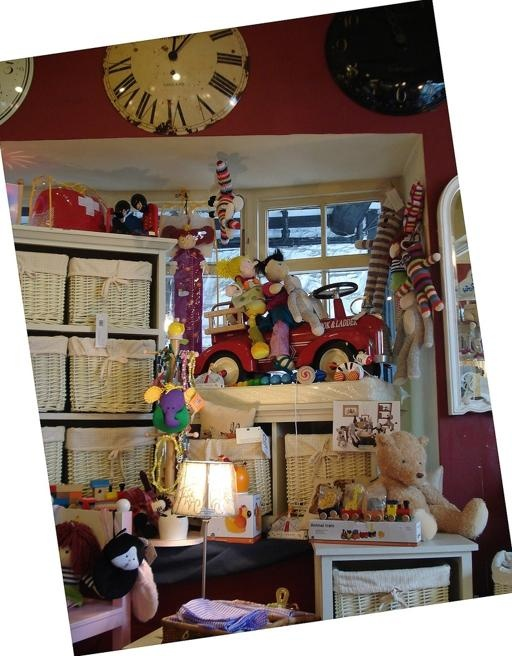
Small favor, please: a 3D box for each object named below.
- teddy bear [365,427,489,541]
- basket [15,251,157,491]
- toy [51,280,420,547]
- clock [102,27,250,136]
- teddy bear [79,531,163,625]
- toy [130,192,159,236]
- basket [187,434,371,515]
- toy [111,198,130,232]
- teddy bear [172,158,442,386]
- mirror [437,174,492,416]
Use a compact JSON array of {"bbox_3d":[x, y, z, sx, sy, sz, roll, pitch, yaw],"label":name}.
[{"bbox_3d":[0.539,0.525,1.869,0.276,0.330,0.343,8,-15,-32],"label":"teddy bear"},{"bbox_3d":[-0.801,0.155,2.574,0.683,0.947,0.434,-3,2,-35],"label":"basket"},{"bbox_3d":[0.115,0.299,2.176,0.913,0.719,0.842,-4,-13,18],"label":"toy"},{"bbox_3d":[-0.394,-1.207,2.727,0.671,0.598,0.043,1,-8,2],"label":"clock"},{"bbox_3d":[-0.342,0.675,1.510,0.106,0.257,0.164,-5,-6,45],"label":"teddy bear"},{"bbox_3d":[-0.527,-0.514,2.585,0.119,0.179,0.074,-13,37,-37],"label":"toy"},{"bbox_3d":[0.137,0.517,2.146,0.537,0.214,0.359,-3,-13,11],"label":"basket"},{"bbox_3d":[-0.612,-0.504,2.538,0.090,0.133,0.060,6,-6,-37],"label":"toy"},{"bbox_3d":[0.273,-0.274,2.707,1.115,0.935,0.530,-3,-16,15],"label":"teddy bear"},{"bbox_3d":[0.883,-0.145,2.396,0.176,1.008,0.095,-2,-5,14],"label":"mirror"}]
